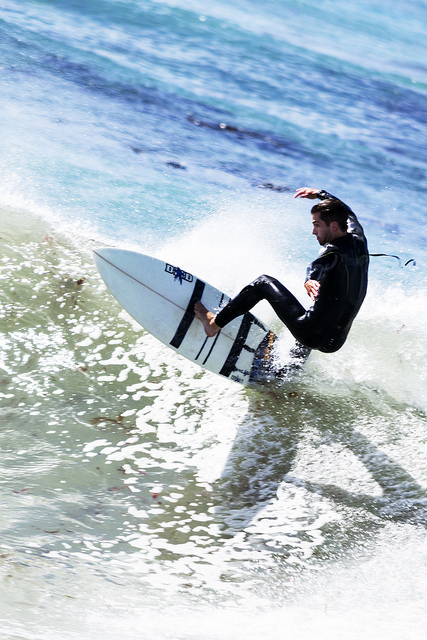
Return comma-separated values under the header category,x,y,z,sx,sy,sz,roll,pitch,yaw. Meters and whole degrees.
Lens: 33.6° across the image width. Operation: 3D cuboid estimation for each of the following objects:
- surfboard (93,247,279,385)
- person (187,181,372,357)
category,x,y,z,sx,sy,sz,roll,pitch,yaw
surfboard,-0.129,0.068,6.005,2.388,0.542,0.312,25,-20,-19
person,0.581,-0.351,5.369,1.242,1.202,1.776,20,16,0
